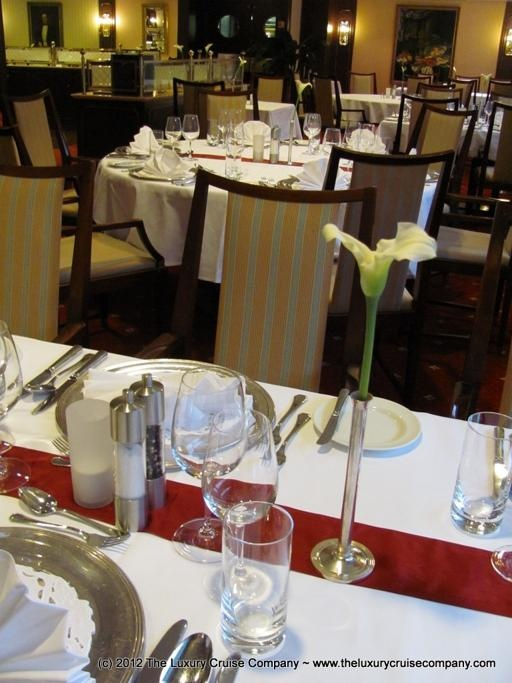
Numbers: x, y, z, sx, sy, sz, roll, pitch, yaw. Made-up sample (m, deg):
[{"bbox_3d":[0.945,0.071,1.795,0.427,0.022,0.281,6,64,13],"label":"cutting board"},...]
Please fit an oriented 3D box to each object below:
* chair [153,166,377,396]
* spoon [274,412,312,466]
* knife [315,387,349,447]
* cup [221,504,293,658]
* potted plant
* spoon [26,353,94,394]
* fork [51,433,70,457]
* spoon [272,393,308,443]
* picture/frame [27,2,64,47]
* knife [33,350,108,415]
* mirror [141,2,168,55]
[{"bbox_3d":[0.009,-0.209,1.650,0.533,0.890,0.618,15,25,4],"label":"chair"},{"bbox_3d":[0.055,0.146,0.807,0.024,0.009,0.133,11,25,10],"label":"spoon"},{"bbox_3d":[0.124,0.119,0.877,0.026,0.023,0.204,17,20,7],"label":"knife"},{"bbox_3d":[-0.001,0.198,0.473,0.061,0.126,0.097,2,23,-2],"label":"cup"},{"bbox_3d":[0.099,0.061,0.531,0.100,0.381,0.221,8,23,11],"label":"potted plant"},{"bbox_3d":[-0.347,0.050,0.974,0.033,0.029,0.169,6,29,28],"label":"spoon"},{"bbox_3d":[-0.285,0.151,0.761,0.019,0.005,0.036,-42,42,-14],"label":"fork"},{"bbox_3d":[0.050,0.123,0.870,0.024,0.015,0.150,23,18,6],"label":"spoon"},{"bbox_3d":[-5.230,-7.856,13.004,0.955,0.939,0.214,9,23,15],"label":"picture/frame"},{"bbox_3d":[-0.324,0.064,0.945,0.028,0.014,0.204,7,26,17],"label":"knife"},{"bbox_3d":[-2.214,-6.828,11.456,0.503,1.029,1.517,-2,24,-12],"label":"mirror"}]
